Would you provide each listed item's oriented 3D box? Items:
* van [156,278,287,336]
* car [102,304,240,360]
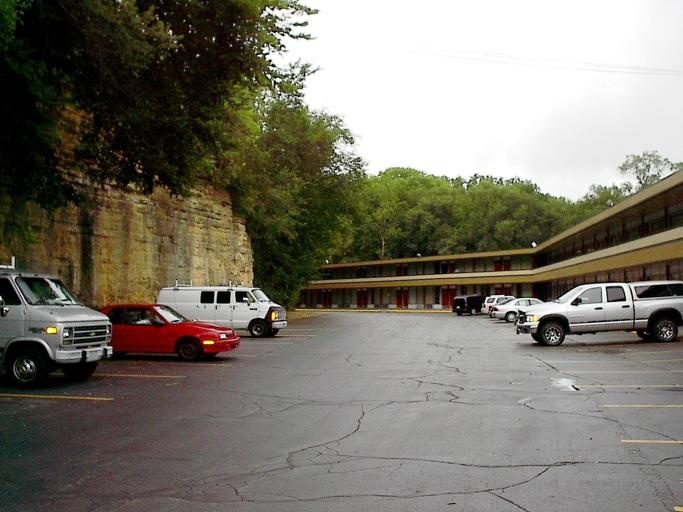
[{"bbox_3d":[-5.719,2.612,28.724,5.252,2.659,2.736,1,0,1],"label":"van"},{"bbox_3d":[-5.821,2.617,20.052,4.220,1.456,1.963,-1,-3,10],"label":"car"}]
